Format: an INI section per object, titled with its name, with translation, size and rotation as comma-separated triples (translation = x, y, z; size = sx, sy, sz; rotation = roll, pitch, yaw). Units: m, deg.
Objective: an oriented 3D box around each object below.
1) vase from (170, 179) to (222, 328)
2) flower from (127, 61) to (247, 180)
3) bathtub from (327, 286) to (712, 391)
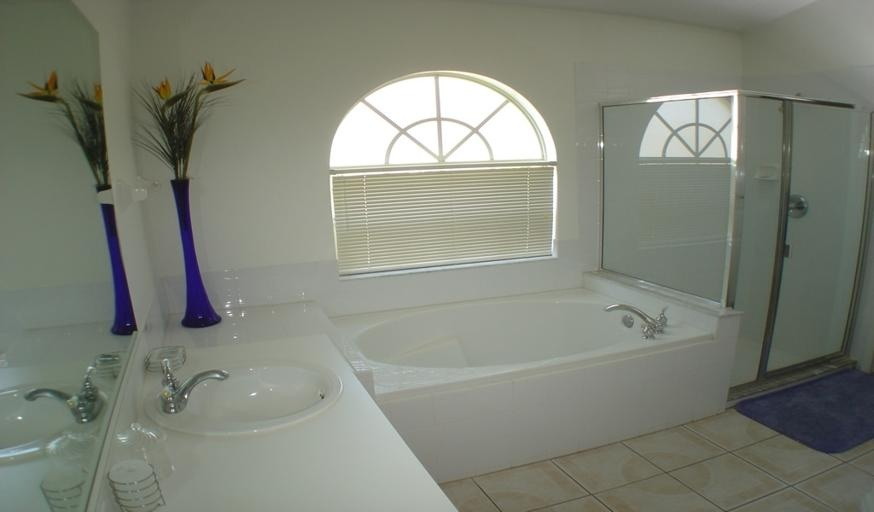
[vase]
translation = -1.549, -0.020, 3.271
size = 0.239, 0.928, 0.217
rotation = -8, 12, -17
[flower]
translation = -1.636, -0.900, 3.347
size = 0.843, 0.793, 0.529
rotation = -5, 11, -20
[bathtub]
translation = 0.536, 0.626, 3.658
size = 2.364, 0.489, 1.041
rotation = -6, 10, -13
